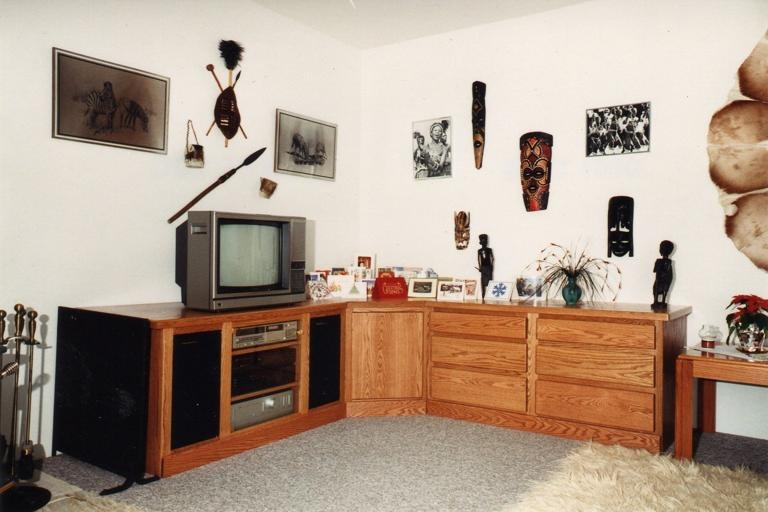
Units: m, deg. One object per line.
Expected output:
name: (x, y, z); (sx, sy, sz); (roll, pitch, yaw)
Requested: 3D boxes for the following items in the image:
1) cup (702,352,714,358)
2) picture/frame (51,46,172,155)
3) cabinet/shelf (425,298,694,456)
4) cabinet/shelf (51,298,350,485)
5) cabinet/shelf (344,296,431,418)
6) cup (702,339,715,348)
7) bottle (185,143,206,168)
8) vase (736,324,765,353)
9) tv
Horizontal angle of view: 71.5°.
cup: (2.108, 0.643, 3.475); (0.037, 0.027, 0.037); (1, 4, 0)
picture/frame: (-1.891, -1.054, 3.623); (0.845, 0.619, 0.036); (-3, 4, -44)
cabinet/shelf: (1.226, 0.842, 4.180); (1.761, 0.917, 0.680); (0, -3, 28)
cabinet/shelf: (-1.203, 0.838, 4.017); (0.954, 1.011, 1.834); (2, -1, 30)
cabinet/shelf: (-0.019, 0.822, 4.435); (0.701, 0.873, 0.551); (-1, -7, 1)
cup: (2.249, 0.599, 3.713); (0.065, 0.065, 0.065); (0, 3, 0)
bottle: (-1.420, -0.743, 3.983); (0.158, 0.176, 0.156); (1, -3, -31)
vase: (2.383, 0.534, 3.473); (0.174, 0.144, 0.189); (3, 3, 35)
tv: (-1.051, 0.038, 3.873); (0.618, 0.721, 0.935); (0, 0, 41)
